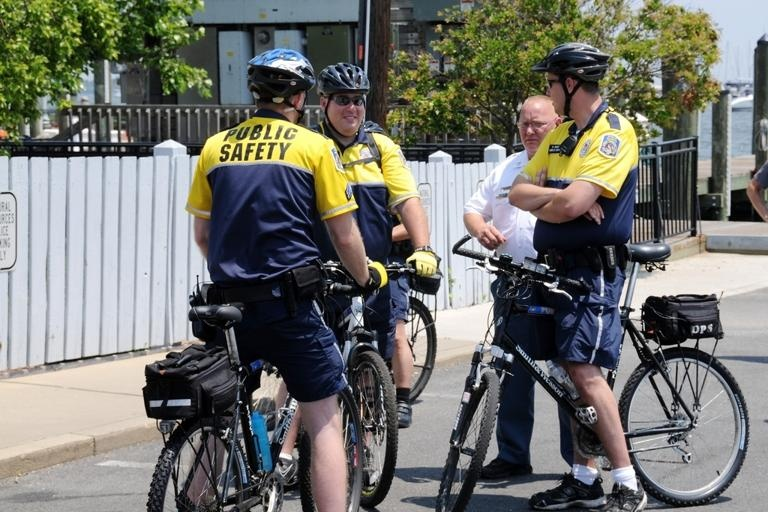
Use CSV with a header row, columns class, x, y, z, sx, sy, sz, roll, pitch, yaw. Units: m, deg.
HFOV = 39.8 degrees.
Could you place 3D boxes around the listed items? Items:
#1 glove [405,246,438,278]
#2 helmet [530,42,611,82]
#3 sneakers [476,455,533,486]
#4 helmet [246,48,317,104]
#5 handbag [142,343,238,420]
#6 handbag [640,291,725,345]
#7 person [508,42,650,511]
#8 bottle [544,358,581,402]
class,x,y,z,sx,sy,sz,roll,pitch,yaw
glove,0.300,0.066,8.400,0.223,0.263,0.540,0,7,7
helmet,1.454,-1.506,8.152,0.429,0.188,0.306,10,8,9
sneakers,1.005,1.824,9.012,0.475,0.256,0.188,2,-2,-14
helmet,-0.740,-1.316,7.730,0.439,0.386,0.351,6,-1,-36
handbag,-1.335,0.855,7.250,0.541,0.374,0.438,-4,-1,-7
handbag,2.376,0.500,8.521,0.493,0.351,0.436,-3,7,-22
person,1.544,0.170,8.244,0.929,3.604,0.537,0,7,11
bottle,1.384,0.952,8.346,0.132,0.415,0.156,-39,-7,33
